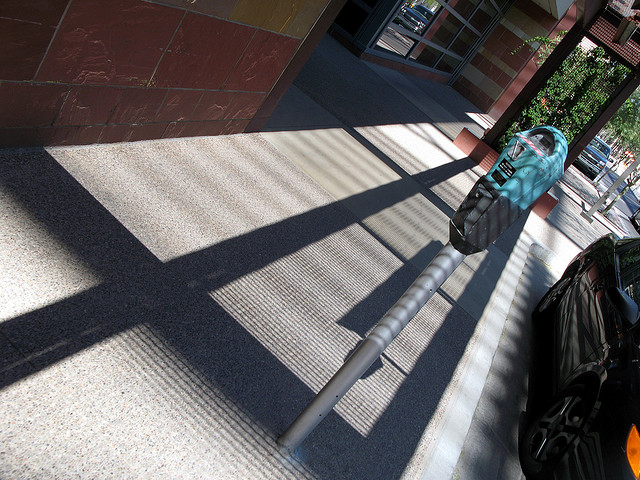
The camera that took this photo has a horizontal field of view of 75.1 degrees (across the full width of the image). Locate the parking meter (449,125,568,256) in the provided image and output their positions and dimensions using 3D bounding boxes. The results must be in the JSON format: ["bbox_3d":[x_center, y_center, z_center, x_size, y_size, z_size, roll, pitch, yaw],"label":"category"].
[{"bbox_3d":[1.043,-0.269,2.361,0.322,0.659,0.281,43,28,17],"label":"parking meter"}]

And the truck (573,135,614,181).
[{"bbox_3d":[11.256,-3.318,17.064,1.100,1.707,1.255,46,28,20],"label":"truck"}]
